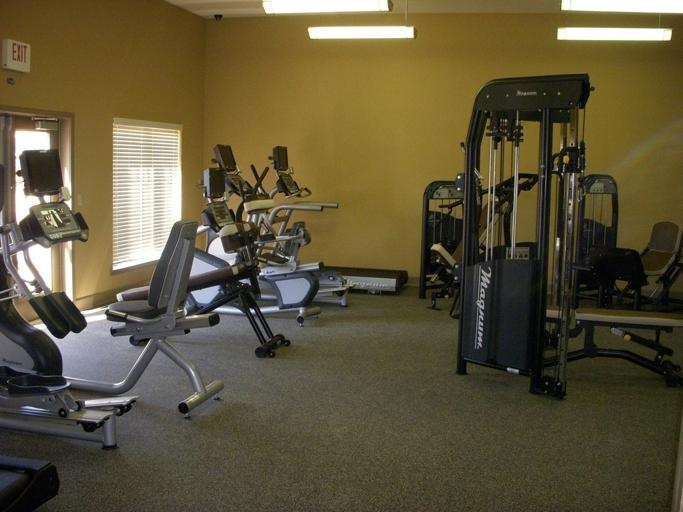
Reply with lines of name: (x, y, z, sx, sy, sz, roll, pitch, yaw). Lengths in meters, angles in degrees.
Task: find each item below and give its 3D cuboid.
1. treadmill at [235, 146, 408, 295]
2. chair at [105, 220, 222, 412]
treadmill: (-0.315, -0.407, 7.507, 2.190, 2.127, 3.216, 4, 11, 13)
chair: (-1.339, 0.401, 4.387, 0.766, 1.528, 0.696, 5, 10, 9)
